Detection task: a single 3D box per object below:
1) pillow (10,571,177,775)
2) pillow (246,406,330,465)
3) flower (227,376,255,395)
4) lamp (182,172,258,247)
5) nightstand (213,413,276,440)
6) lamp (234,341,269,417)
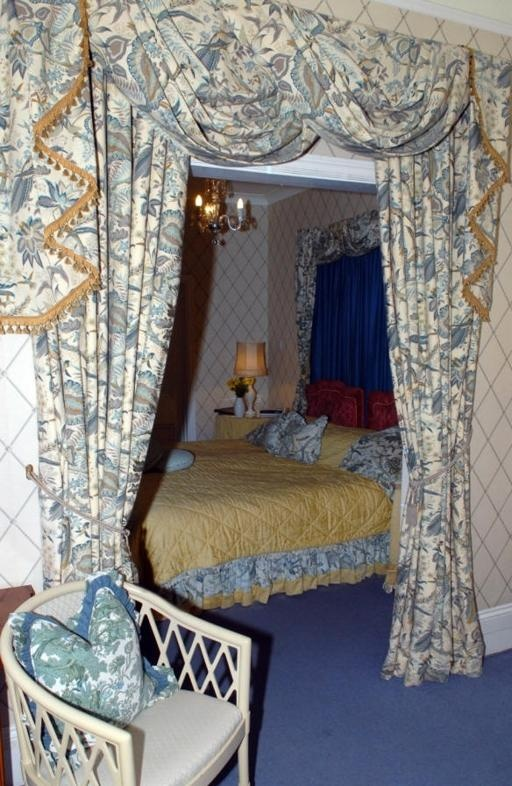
[{"bbox_3d":[-0.483,0.774,1.892,0.323,0.394,0.539,3,6,34],"label":"pillow"},{"bbox_3d":[0.276,0.317,4.826,0.274,0.323,0.679,-5,3,-22],"label":"pillow"},{"bbox_3d":[-0.169,-0.090,6.651,0.204,0.189,0.215,0,2,23],"label":"flower"},{"bbox_3d":[-0.325,-1.627,5.743,0.631,0.541,0.618,2,4,5],"label":"lamp"},{"bbox_3d":[-0.160,0.351,6.560,0.501,0.277,0.483,-2,-5,9],"label":"nightstand"},{"bbox_3d":[-0.068,-0.175,6.672,0.401,0.817,0.403,0,2,2],"label":"lamp"}]
